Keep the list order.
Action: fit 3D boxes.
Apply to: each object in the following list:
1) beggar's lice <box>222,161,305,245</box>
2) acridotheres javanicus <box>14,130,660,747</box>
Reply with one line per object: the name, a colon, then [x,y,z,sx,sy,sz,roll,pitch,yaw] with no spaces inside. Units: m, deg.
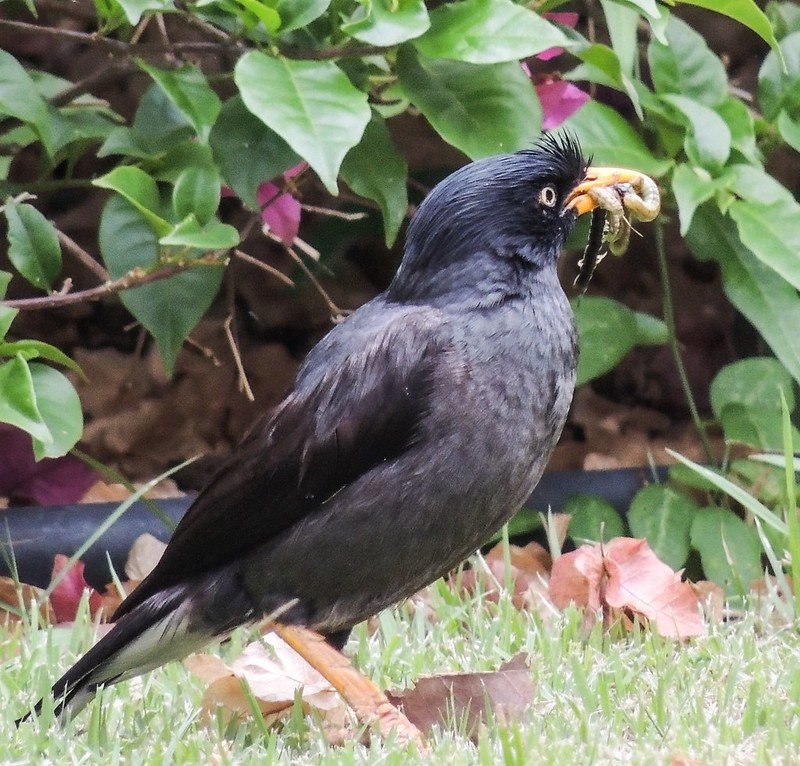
beggar's lice: [-0.347,-0.538,2.952,0.205,0.064,0.313,13,52,-1]
acridotheres javanicus: [-0.062,0.095,2.406,0.844,1.489,0.749,17,9,8]
